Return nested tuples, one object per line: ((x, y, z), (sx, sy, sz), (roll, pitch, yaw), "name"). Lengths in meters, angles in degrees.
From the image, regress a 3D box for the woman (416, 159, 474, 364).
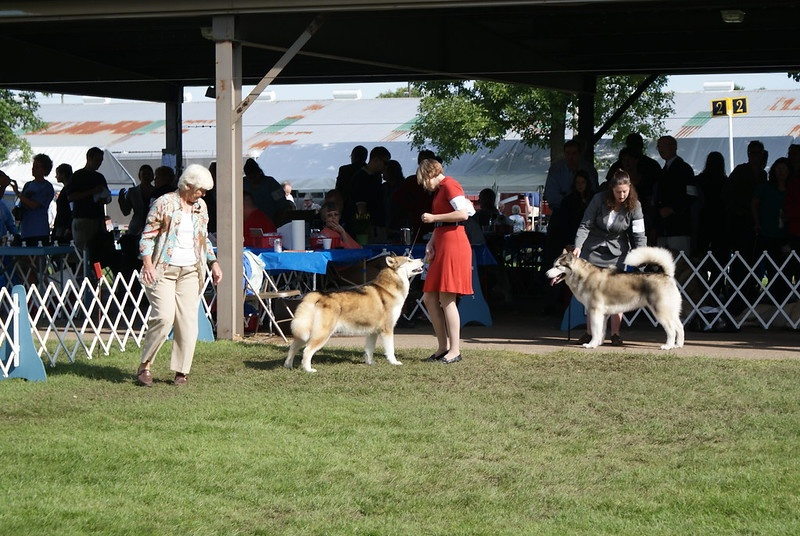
((0.539, -0.079, 12.326), (0.665, 2.459, 0.773), (0, 2, 1), "woman")

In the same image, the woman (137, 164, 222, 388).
((-2.499, 0.093, 11.447), (0.773, 2.470, 0.372), (-1, 2, -15), "woman")

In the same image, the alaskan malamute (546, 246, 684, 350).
((2.796, 0.384, 13.121), (1.558, 1.310, 0.624), (0, 2, 17), "alaskan malamute")
